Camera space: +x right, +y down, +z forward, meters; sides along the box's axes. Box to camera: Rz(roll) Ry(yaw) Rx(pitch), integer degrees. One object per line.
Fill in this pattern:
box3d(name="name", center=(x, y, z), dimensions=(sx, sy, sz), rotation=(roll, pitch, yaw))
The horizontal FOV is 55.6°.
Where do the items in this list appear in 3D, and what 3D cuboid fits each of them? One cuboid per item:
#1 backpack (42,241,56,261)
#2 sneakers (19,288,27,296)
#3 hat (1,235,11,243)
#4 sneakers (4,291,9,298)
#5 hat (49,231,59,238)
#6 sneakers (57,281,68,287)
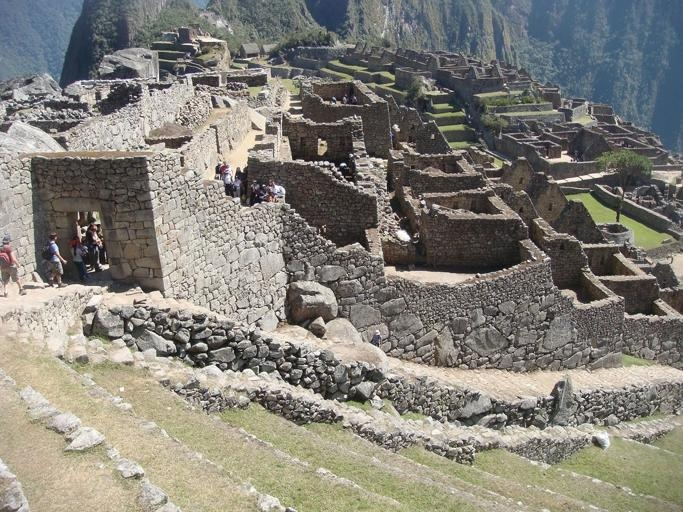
box3d(name="backpack", center=(-7.041, -0.138, 15.526), dimensions=(0.455, 0.435, 0.240), rotation=(3, 3, 1))
box3d(name="sneakers", center=(-7.368, 0.811, 14.926), dimensions=(0.109, 0.172, 0.178), rotation=(-3, -7, 36))
box3d(name="hat", center=(-7.795, -0.405, 14.986), dimensions=(0.192, 0.079, 0.217), rotation=(-1, 12, -19))
box3d(name="sneakers", center=(-7.676, 0.864, 14.740), dimensions=(0.102, 0.166, 0.106), rotation=(-3, 6, -17))
box3d(name="hat", center=(-7.174, -0.553, 16.049), dimensions=(0.140, 0.125, 0.133), rotation=(15, 12, -38))
box3d(name="sneakers", center=(-6.725, 0.668, 15.530), dimensions=(0.254, 0.109, 0.081), rotation=(-3, 32, -3))
